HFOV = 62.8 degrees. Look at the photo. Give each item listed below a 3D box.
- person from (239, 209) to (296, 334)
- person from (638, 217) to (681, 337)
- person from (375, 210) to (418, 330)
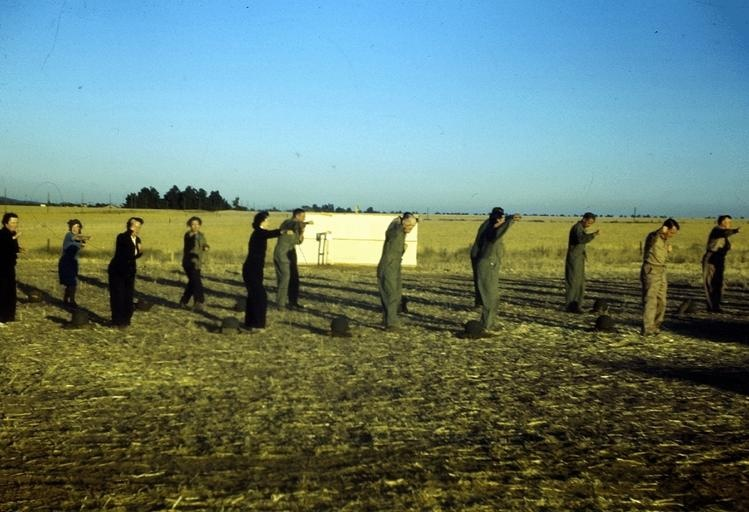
[{"bbox_3d":[-2.485,0.349,13.114,0.875,2.600,0.486,6,10,31],"label":"person"},{"bbox_3d":[6.142,0.440,13.382,0.631,2.604,1.170,5,10,26],"label":"person"},{"bbox_3d":[0.446,0.332,13.800,0.744,2.611,0.684,-1,9,-14],"label":"person"}]
